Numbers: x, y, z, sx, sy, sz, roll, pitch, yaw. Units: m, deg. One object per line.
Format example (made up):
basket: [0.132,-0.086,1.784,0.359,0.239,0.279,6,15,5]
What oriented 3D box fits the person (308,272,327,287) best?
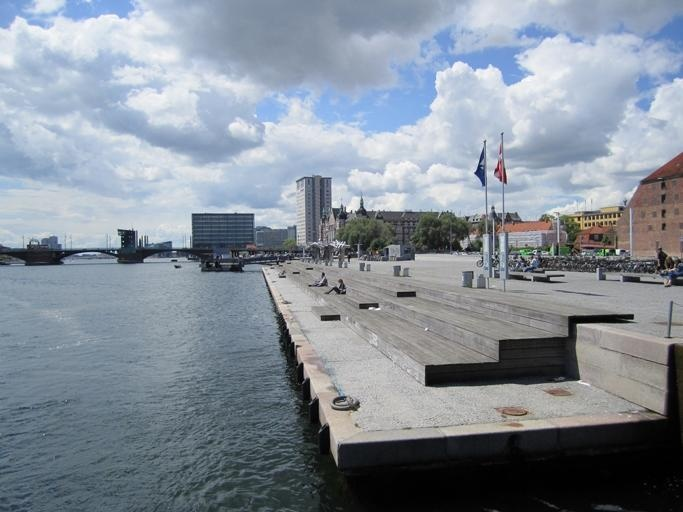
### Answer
person: [-1.324,1.471,30.653,1.313,1.052,0.659,0,1,2]

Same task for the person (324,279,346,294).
person: [-0.275,1.580,25.336,1.062,0.826,0.542,0,0,5]
